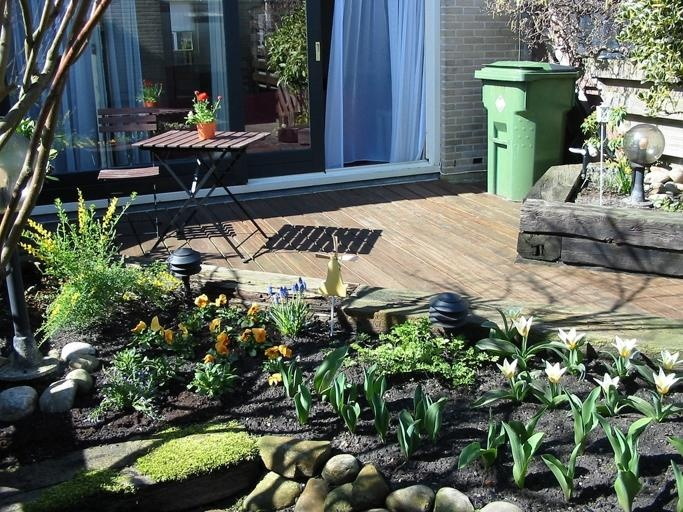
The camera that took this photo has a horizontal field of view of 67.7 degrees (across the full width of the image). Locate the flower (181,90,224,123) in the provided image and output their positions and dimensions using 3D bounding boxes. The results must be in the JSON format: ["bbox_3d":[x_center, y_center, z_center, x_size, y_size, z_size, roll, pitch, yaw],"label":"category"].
[{"bbox_3d":[-1.405,-1.502,5.319,0.328,0.376,0.207,-4,35,-28],"label":"flower"}]

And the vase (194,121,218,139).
[{"bbox_3d":[-1.288,-1.212,4.895,0.186,0.139,0.189,-11,19,-33],"label":"vase"}]

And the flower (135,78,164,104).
[{"bbox_3d":[-2.076,-1.822,5.613,0.241,0.240,0.243,10,29,10],"label":"flower"}]
